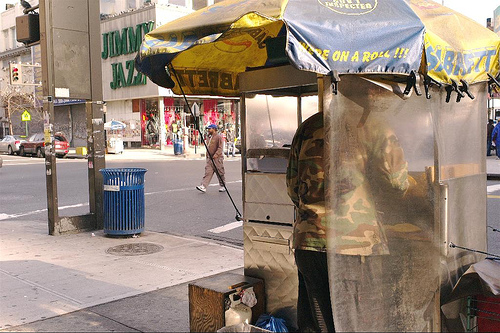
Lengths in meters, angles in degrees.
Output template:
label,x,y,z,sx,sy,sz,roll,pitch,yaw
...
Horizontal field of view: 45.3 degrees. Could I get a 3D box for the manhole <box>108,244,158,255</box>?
label,x,y,z,sx,sy,sz,roll,pitch,yaw
manhole,-2.031,1.440,10.530,0.806,0.063,0.707,-2,4,-3

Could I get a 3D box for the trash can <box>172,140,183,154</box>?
label,x,y,z,sx,sy,sz,roll,pitch,yaw
trash can,-4.097,-1.172,34.806,0.643,0.842,0.716,-8,11,-37

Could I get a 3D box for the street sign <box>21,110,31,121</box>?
label,x,y,z,sx,sy,sz,roll,pitch,yaw
street sign,-14.362,-3.241,38.694,0.766,0.895,0.316,0,-1,-3

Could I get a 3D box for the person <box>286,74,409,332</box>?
label,x,y,z,sx,sy,sz,roll,pitch,yaw
person,1.046,0.448,6.529,1.261,2.845,0.506,-2,3,2

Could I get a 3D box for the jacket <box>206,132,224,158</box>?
label,x,y,z,sx,sy,sz,roll,pitch,yaw
jacket,-0.967,-0.616,16.919,0.426,0.747,1.286,-2,4,-3

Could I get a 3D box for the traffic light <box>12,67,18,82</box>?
label,x,y,z,sx,sy,sz,roll,pitch,yaw
traffic light,-10.308,-4.082,26.416,0.217,0.620,0.683,-3,4,-20

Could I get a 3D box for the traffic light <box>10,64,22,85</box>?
label,x,y,z,sx,sy,sz,roll,pitch,yaw
traffic light,-10.572,-4.269,27.241,0.420,1.070,2.560,-3,4,-19

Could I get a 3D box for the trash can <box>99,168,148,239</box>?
label,x,y,z,sx,sy,sz,roll,pitch,yaw
trash can,-2.433,0.691,11.314,0.760,1.344,0.803,1,3,28
